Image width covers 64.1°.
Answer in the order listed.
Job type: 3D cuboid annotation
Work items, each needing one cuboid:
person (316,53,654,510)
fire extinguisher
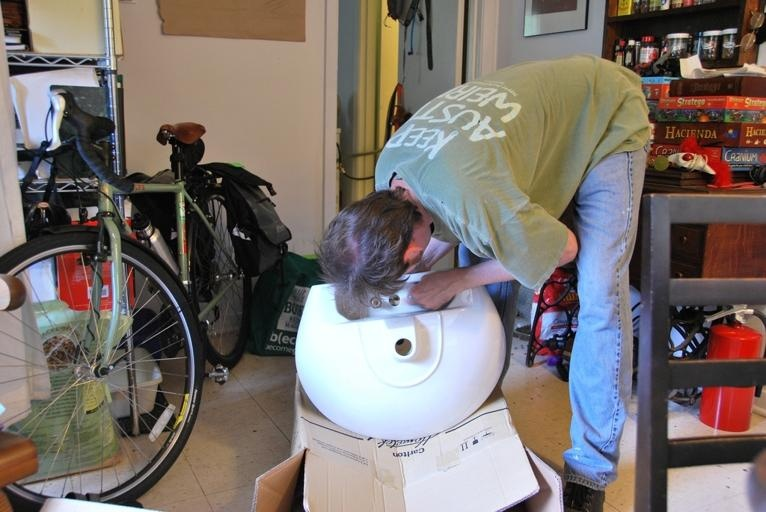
[{"bbox_3d":[0.435,0.150,2.106,1.192,1.585,0.471,-7,17,-20],"label":"person"},{"bbox_3d":[1.481,0.503,2.595,0.213,0.527,0.359,8,19,29],"label":"fire extinguisher"}]
